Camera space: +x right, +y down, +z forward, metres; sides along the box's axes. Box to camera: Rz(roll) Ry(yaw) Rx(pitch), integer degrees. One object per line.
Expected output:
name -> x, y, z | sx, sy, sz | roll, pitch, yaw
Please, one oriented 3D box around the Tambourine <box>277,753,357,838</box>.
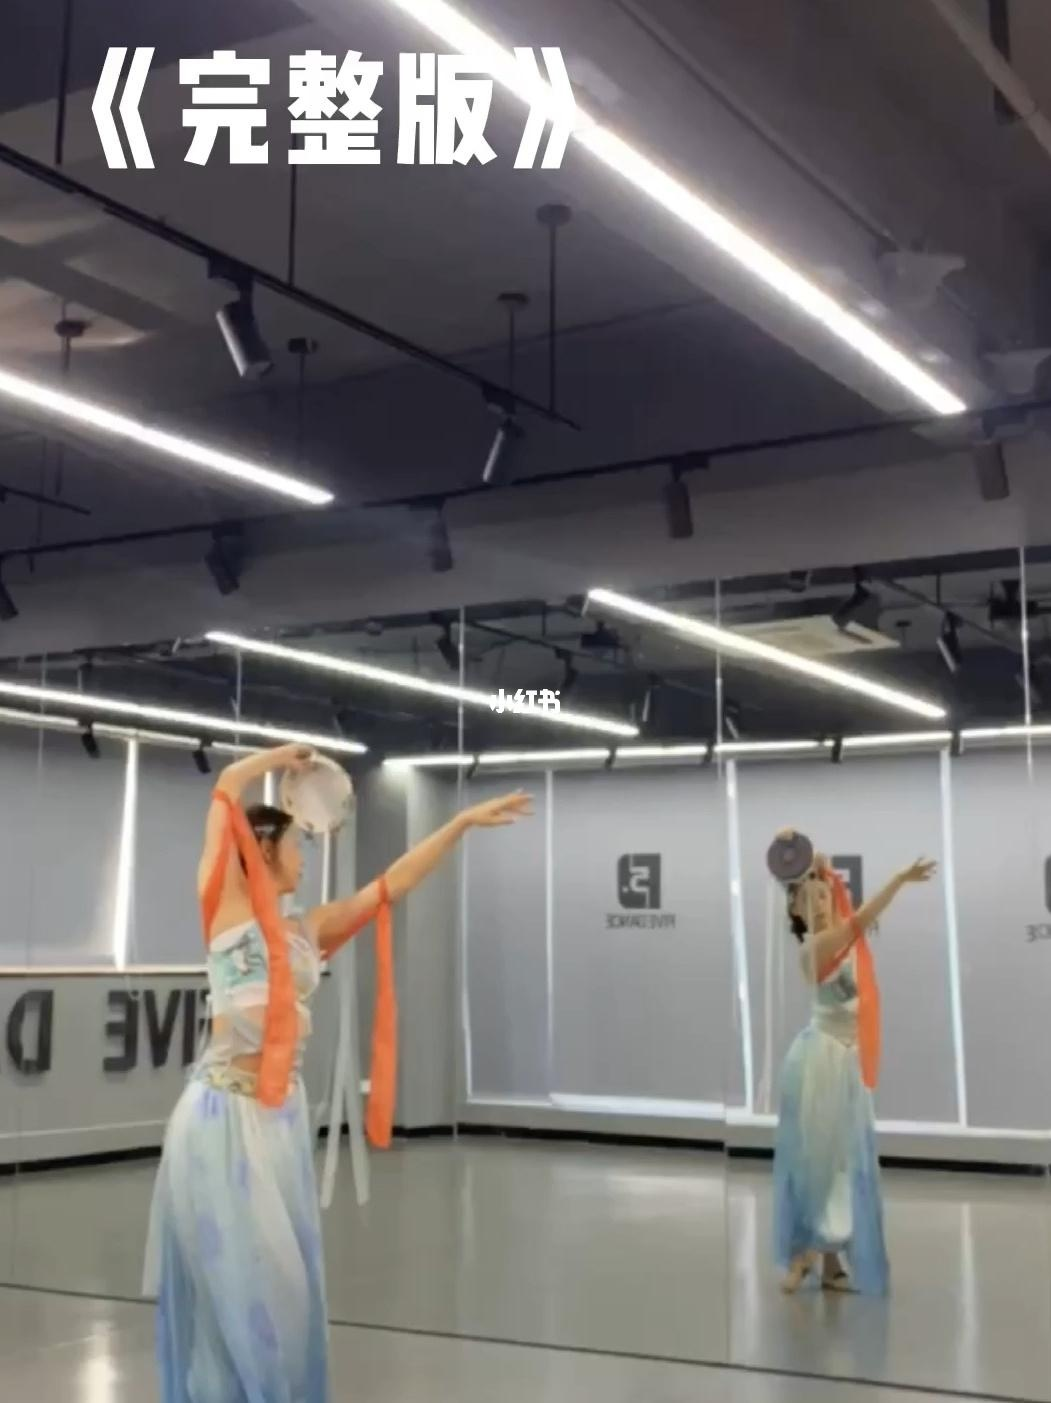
Tambourine -> -0.479, 0.224, 2.751 | 0.153, 0.179, 0.104 | 9, -8, -6
